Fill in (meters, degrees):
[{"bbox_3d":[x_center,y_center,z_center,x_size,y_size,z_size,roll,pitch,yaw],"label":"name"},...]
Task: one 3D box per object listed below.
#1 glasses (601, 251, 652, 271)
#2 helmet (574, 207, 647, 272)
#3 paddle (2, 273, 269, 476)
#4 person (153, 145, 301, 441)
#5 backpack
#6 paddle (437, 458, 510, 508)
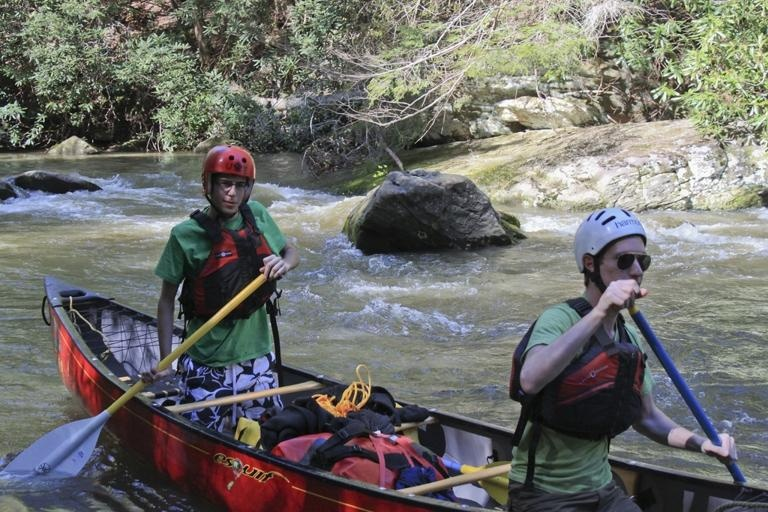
[{"bbox_3d":[1.999,0.039,6.678,0.299,0.132,0.073,-1,8,-20],"label":"glasses"},{"bbox_3d":[1.803,-0.167,6.878,0.450,0.472,0.584,-13,8,-35],"label":"helmet"},{"bbox_3d":[-2.460,1.248,8.369,3.012,0.518,0.153,-38,8,9],"label":"paddle"},{"bbox_3d":[-1.463,0.315,7.721,1.244,2.666,0.434,0,8,-6],"label":"person"},{"bbox_3d":[-0.162,1.758,7.402,0.930,0.289,0.703,14,0,23],"label":"backpack"},{"bbox_3d":[0.827,2.039,7.611,0.421,0.467,0.661,-2,7,-23],"label":"paddle"}]
